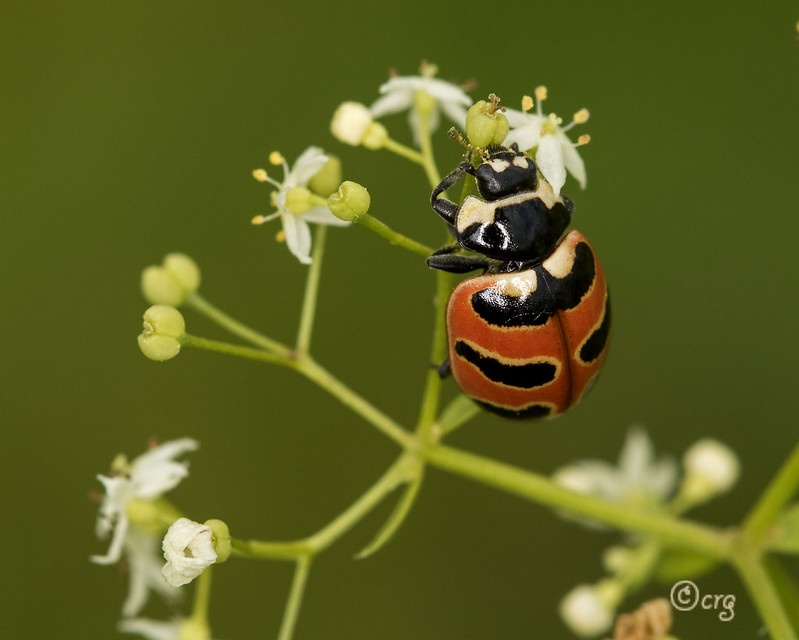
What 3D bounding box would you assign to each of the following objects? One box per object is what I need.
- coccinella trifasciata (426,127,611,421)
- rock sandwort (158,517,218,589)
[{"bbox_3d":[0.443,-0.140,3.586,0.672,0.913,0.444,-1,-20,0],"label":"coccinella trifasciata"},{"bbox_3d":[-0.753,0.816,3.344,0.243,0.210,0.137,-19,-27,39],"label":"rock sandwort"}]
